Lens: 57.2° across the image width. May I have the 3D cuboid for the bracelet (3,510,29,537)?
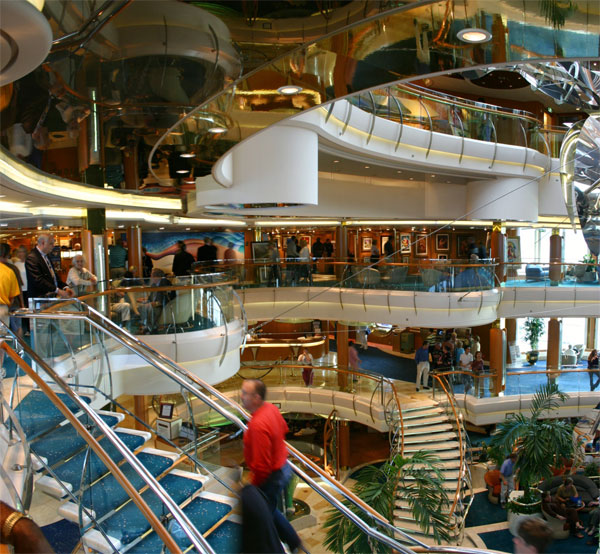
[{"bbox_3d":[-1.431,1.226,2.764,0.100,0.085,0.074,-1,24,40],"label":"bracelet"}]

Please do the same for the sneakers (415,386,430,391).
[{"bbox_3d":[3.360,3.046,15.114,0.440,0.149,0.121,-7,2,8],"label":"sneakers"}]

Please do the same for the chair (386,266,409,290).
[{"bbox_3d":[2.460,0.030,14.001,0.590,0.632,0.587,-2,-6,24],"label":"chair"}]

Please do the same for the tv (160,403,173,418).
[{"bbox_3d":[-1.952,1.945,8.059,0.026,0.213,0.351,17,-15,-41],"label":"tv"}]
